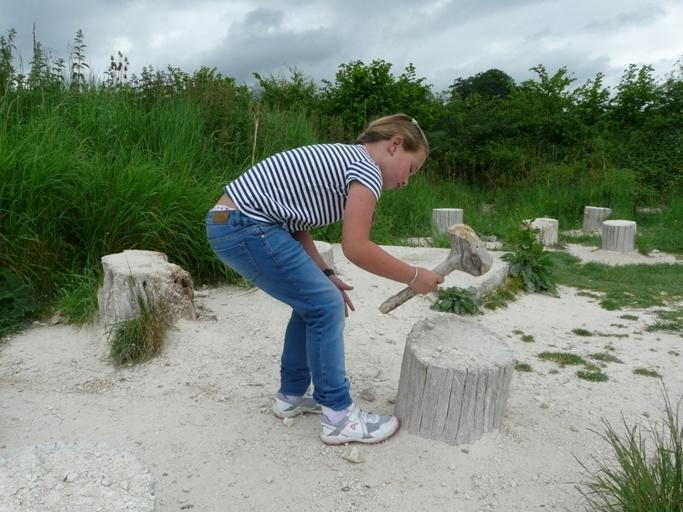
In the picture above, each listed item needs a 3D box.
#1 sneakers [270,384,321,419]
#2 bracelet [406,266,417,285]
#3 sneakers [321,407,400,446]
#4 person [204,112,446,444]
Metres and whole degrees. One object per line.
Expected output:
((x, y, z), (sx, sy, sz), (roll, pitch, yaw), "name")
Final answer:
((-0.326, 1.104, 4.124), (0.417, 0.217, 0.161), (0, 7, -19), "sneakers")
((0.468, 0.128, 3.609), (0.021, 0.087, 0.083), (16, -10, -6), "bracelet")
((0.112, 1.196, 3.933), (0.559, 0.305, 0.233), (-3, 4, -4), "sneakers")
((-0.124, 0.192, 3.737), (1.400, 2.261, 0.659), (1, 10, 13), "person")
